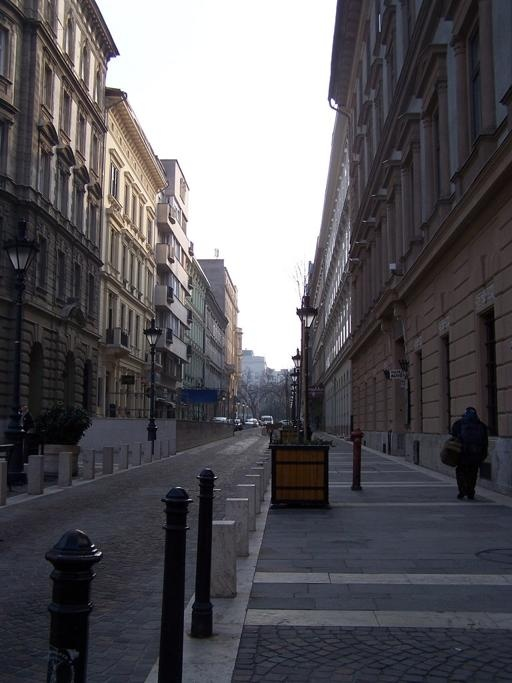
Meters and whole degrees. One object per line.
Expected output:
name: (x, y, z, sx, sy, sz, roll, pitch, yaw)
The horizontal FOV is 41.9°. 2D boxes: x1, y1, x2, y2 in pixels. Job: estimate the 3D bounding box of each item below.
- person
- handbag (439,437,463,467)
person: (3.878, 2.009, 11.997, 0.593, 1.663, 0.641, -2, -8, 20)
handbag: (3.550, 1.940, 12.044, 0.392, 0.813, 0.379, 4, -14, 25)
